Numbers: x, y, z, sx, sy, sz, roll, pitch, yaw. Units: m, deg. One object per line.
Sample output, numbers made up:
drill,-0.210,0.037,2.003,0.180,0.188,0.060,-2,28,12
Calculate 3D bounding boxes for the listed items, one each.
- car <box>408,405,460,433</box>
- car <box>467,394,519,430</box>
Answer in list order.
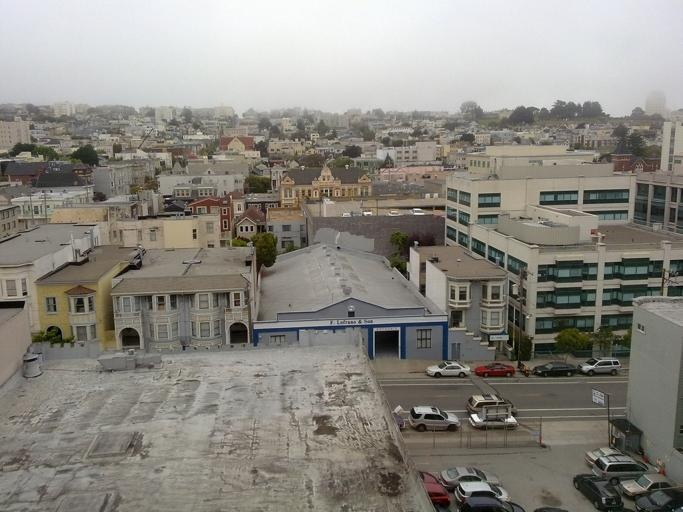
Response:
car,6.606,11.424,40.882,3.286,1.332,1.568,-3,17,-2
car,10.757,11.078,41.056,2.959,1.434,1.958,-5,37,-3
